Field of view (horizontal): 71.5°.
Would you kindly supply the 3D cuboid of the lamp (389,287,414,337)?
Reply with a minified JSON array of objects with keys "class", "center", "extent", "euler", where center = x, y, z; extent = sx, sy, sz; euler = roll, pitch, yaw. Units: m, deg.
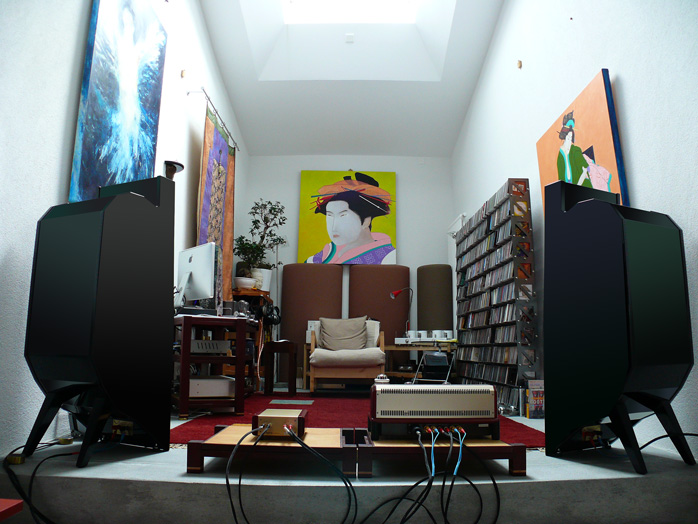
[{"class":"lamp","center":[0.805,0.704,6.976],"extent":[0.481,0.682,0.296],"euler":[2,-4,-42]}]

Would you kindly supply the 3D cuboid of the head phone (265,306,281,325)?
[{"class":"head phone","center":[-0.955,0.659,5.922],"extent":[0.178,0.219,0.555],"euler":[0,-2,-11]}]

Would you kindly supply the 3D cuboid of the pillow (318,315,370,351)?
[{"class":"pillow","center":[-0.078,0.896,6.019],"extent":[0.615,0.540,0.324],"euler":[1,-22,-1]}]

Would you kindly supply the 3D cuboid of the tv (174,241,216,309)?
[{"class":"tv","center":[-1.169,0.122,3.630],"extent":[0.191,0.487,0.497],"euler":[4,-4,-43]}]

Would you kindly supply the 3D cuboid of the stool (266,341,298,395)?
[{"class":"stool","center":[-0.824,1.167,5.578],"extent":[0.345,0.643,1.303],"euler":[0,-2,-10]}]

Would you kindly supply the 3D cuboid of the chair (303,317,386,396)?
[{"class":"chair","center":[-0.074,1.032,5.713],"extent":[0.854,0.954,0.932],"euler":[0,-26,1]}]

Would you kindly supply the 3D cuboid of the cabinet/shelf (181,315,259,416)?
[{"class":"cabinet/shelf","center":[-1.139,0.850,3.684],"extent":[0.504,0.664,0.627],"euler":[7,-26,-29]}]
